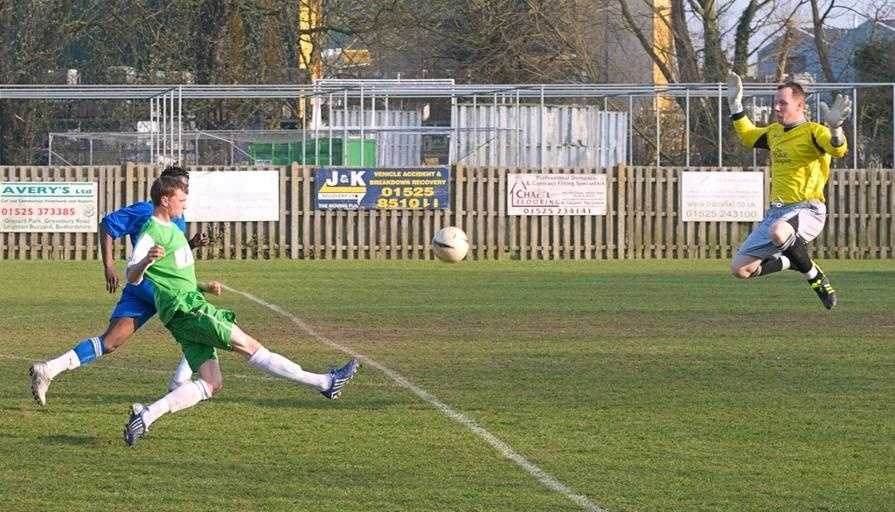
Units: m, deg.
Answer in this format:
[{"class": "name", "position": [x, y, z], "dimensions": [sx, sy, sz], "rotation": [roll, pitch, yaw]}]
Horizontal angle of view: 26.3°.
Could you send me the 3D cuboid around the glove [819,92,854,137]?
[{"class": "glove", "position": [10.754, -3.902, 53.400], "dimensions": [0.752, 1.160, 0.745], "rotation": [-1, 2, 5]}]
